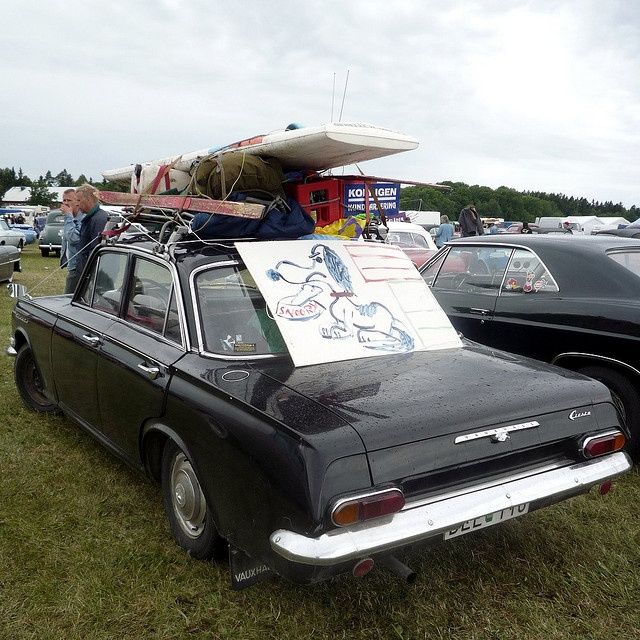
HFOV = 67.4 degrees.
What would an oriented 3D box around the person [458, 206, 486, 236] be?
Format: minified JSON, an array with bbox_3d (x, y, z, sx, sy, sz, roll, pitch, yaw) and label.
[{"bbox_3d":[3.555,-2.362,11.329,0.528,0.848,2.367,4,8,16],"label":"person"}]

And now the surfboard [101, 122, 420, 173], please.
[{"bbox_3d":[-0.185,-1.128,3.184,1.378,0.189,0.841,6,9,32],"label":"surfboard"}]

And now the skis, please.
[{"bbox_3d":[-0.856,-0.717,3.016,1.762,0.181,0.144,12,11,35],"label":"skis"}]
